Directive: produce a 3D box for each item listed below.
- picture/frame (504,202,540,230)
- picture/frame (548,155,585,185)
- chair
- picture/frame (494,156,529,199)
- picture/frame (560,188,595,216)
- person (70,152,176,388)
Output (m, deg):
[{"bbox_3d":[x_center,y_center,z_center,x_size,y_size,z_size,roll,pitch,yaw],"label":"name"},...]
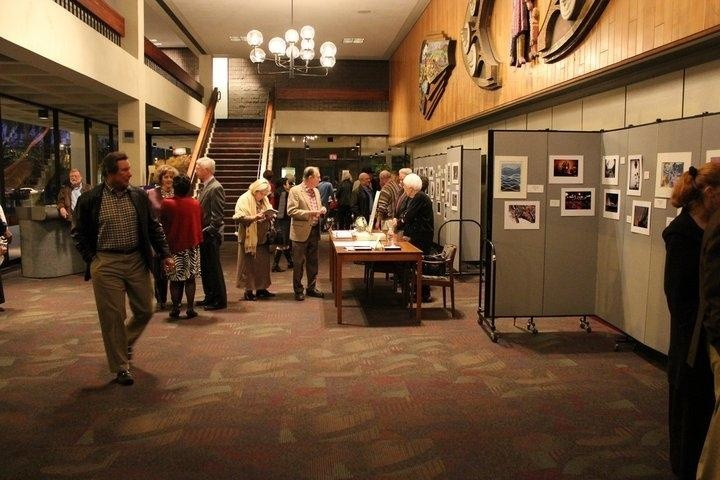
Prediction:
[{"bbox_3d":[2.024,-0.316,6.117,0.343,0.279,0.016,0,0,-4],"label":"picture/frame"},{"bbox_3d":[2.583,-0.899,6.126,0.357,0.297,0.014,0,1,-5],"label":"picture/frame"},{"bbox_3d":[1.203,0.505,7.544,0.841,1.350,1.206,1,2,-1],"label":"chair"},{"bbox_3d":[1.896,-0.811,6.076,0.493,0.614,0.050,0,1,-5],"label":"picture/frame"},{"bbox_3d":[2.737,-0.489,6.158,0.338,0.294,0.017,0,0,-5],"label":"picture/frame"},{"bbox_3d":[-2.432,0.295,4.890,0.705,2.314,0.407,-6,11,-31],"label":"person"}]
